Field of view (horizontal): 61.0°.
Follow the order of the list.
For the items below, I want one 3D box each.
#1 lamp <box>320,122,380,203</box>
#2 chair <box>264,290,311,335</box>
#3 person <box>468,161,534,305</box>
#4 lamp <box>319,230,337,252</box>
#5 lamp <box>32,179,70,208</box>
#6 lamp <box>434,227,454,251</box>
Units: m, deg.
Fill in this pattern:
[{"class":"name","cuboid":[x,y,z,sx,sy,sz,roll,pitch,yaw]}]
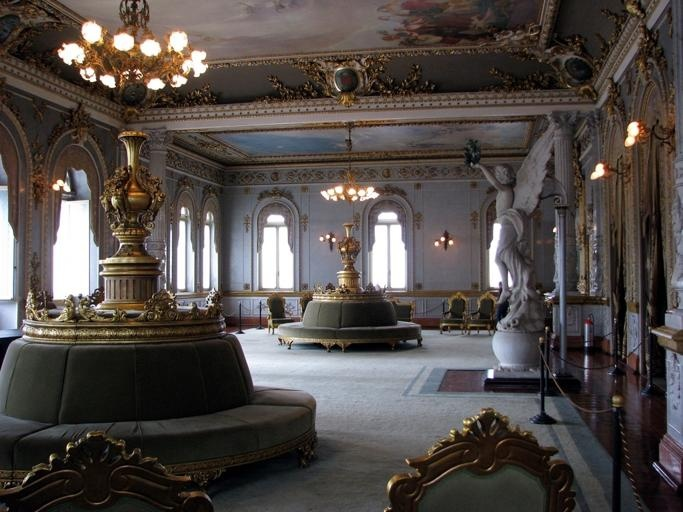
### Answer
[{"class":"lamp","cuboid":[0.211,-2.230,13.742,1.580,1.837,1.608,-1,2,-7]},{"class":"chair","cuboid":[-1.555,1.417,14.757,1.133,1.617,1.095,1,-11,-14]},{"class":"person","cuboid":[2.044,-0.318,7.216,0.473,1.638,0.360,-1,-3,13]},{"class":"lamp","cuboid":[-0.326,-0.426,17.138,0.550,0.707,0.492,-5,-8,27]},{"class":"lamp","cuboid":[-4.830,-1.078,9.558,0.145,0.476,0.625,-1,-3,14]},{"class":"lamp","cuboid":[2.904,-0.435,16.369,0.542,0.559,0.147,-1,-3,8]}]
